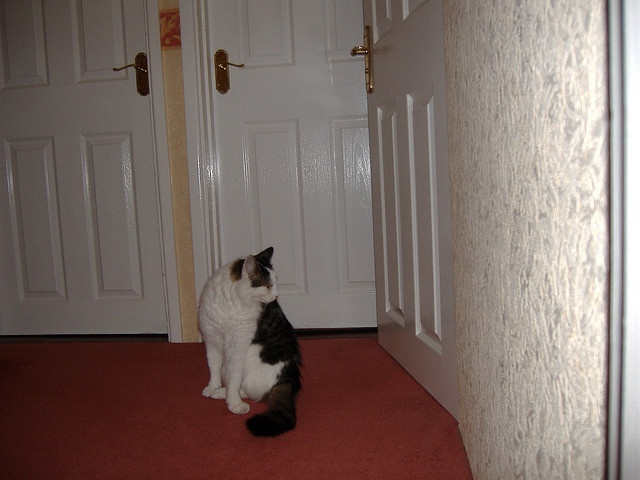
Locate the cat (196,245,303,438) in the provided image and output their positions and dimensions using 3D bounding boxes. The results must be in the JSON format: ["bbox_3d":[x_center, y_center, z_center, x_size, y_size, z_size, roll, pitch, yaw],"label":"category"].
[{"bbox_3d":[-0.216,0.321,1.742,0.470,0.556,0.287,18,10,41],"label":"cat"}]
